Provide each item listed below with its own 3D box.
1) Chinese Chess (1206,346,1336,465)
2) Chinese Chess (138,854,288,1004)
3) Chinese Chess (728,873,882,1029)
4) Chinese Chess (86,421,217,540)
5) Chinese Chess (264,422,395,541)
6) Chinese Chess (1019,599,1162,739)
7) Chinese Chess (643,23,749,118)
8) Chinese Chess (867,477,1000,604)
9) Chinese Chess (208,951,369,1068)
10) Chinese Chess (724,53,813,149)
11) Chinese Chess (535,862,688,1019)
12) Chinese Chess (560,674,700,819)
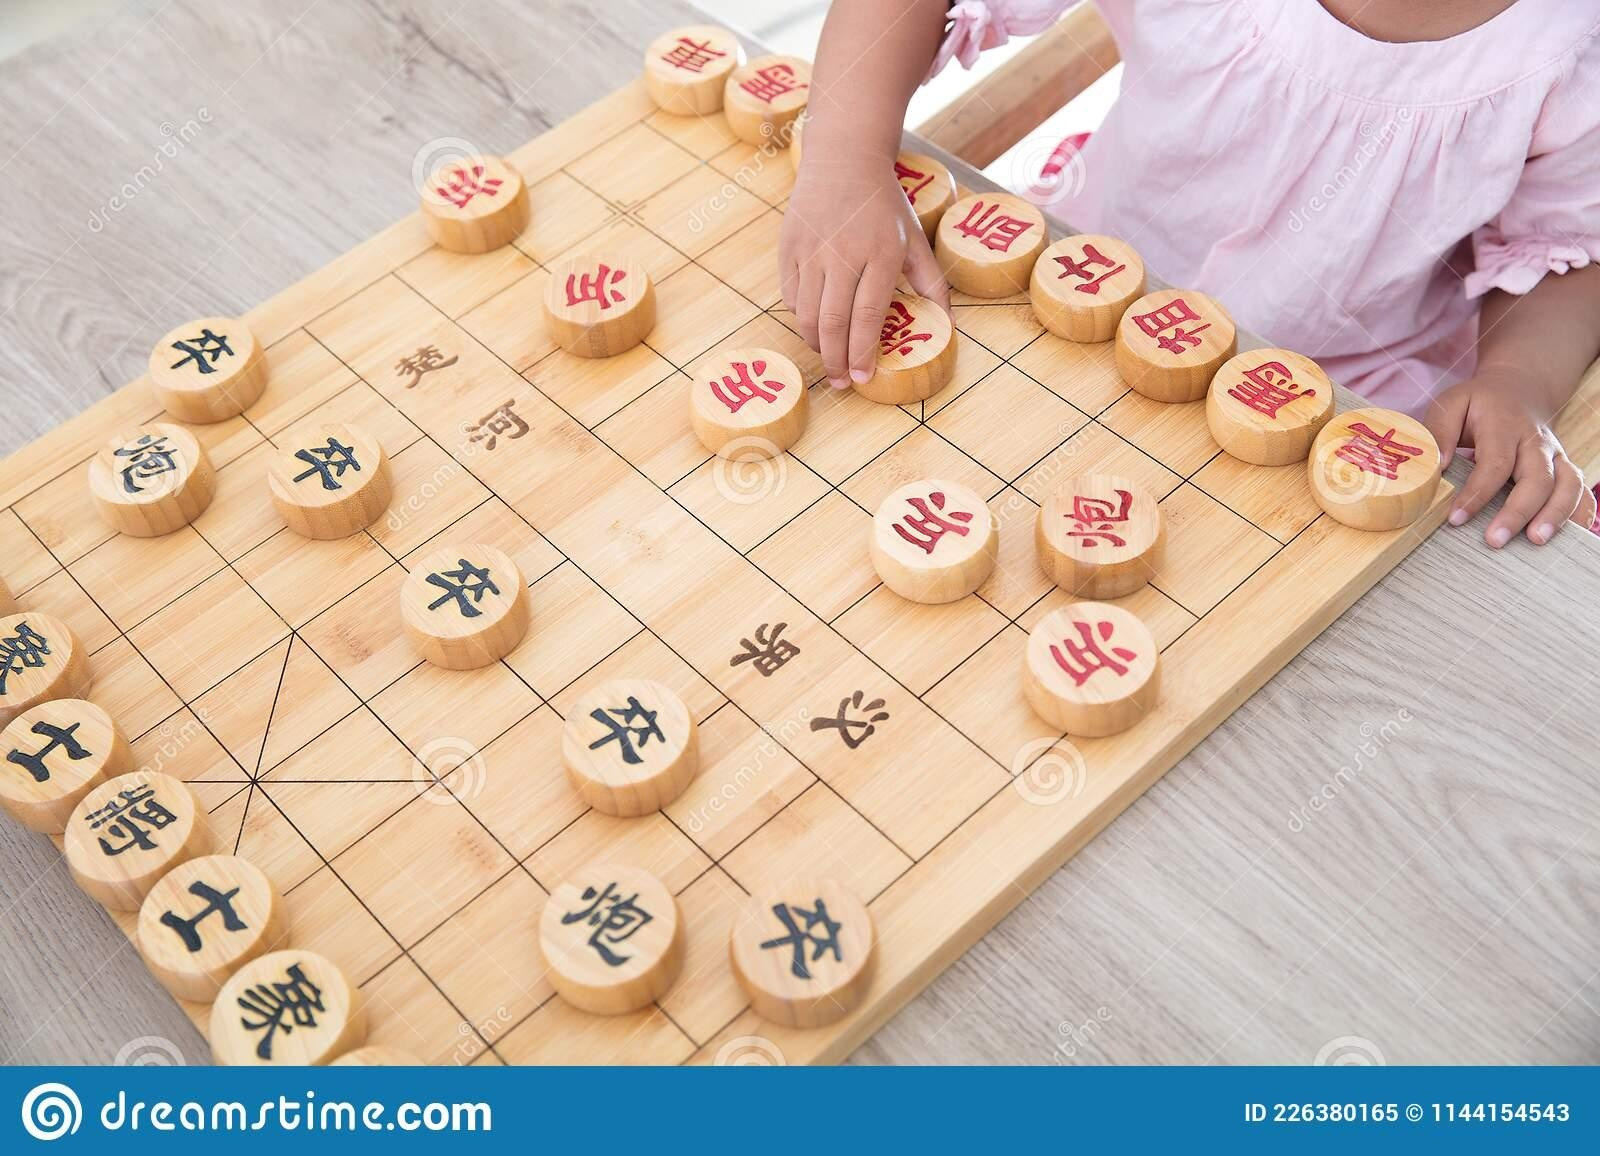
[{"bbox_3d":[0.456,-0.158,1.293,0.112,0.042,0.118,10,36,13],"label":"Chinese Chess"},{"bbox_3d":[-0.494,0.286,1.093,0.108,0.060,0.114,2,55,-3],"label":"Chinese Chess"},{"bbox_3d":[0.006,0.303,1.046,0.113,0.030,0.111,-23,70,-7],"label":"Chinese Chess"},{"bbox_3d":[-0.661,-0.101,1.304,0.114,0.041,0.112,-34,61,-28],"label":"Chinese Chess"},{"bbox_3d":[-0.461,-0.102,1.256,0.037,0.103,0.105,22,41,8],"label":"Chinese Chess"},{"bbox_3d":[0.247,0.066,1.111,0.106,0.039,0.111,-2,64,2],"label":"Chinese Chess"},{"bbox_3d":[-0.126,-0.621,1.557,0.111,0.051,0.115,35,63,19],"label":"Chinese Chess"},{"bbox_3d":[0.129,-0.037,1.231,0.122,0.045,0.125,30,57,30],"label":"Chinese Chess"},{"bbox_3d":[-0.415,0.346,1.045,0.118,0.026,0.086,0,69,2],"label":"Chinese Chess"},{"bbox_3d":[-0.038,-0.567,1.523,0.104,0.035,0.107,34,69,18],"label":"Chinese Chess"},{"bbox_3d":[-0.155,0.293,1.055,0.116,0.032,0.116,-2,69,1],"label":"Chinese Chess"},{"bbox_3d":[-0.149,0.144,1.128,0.112,0.035,0.121,-13,69,-3],"label":"Chinese Chess"}]
